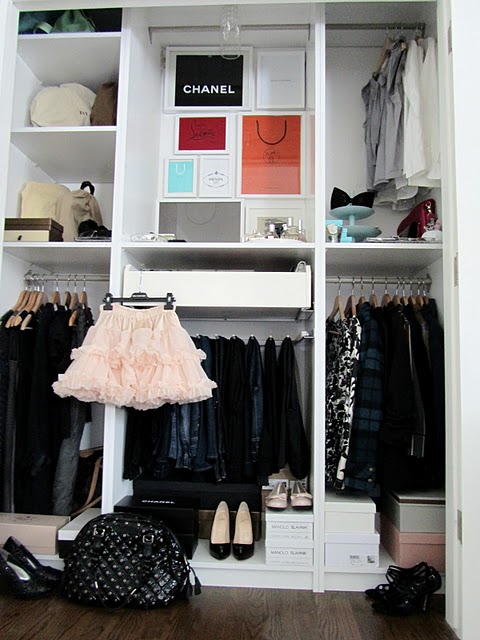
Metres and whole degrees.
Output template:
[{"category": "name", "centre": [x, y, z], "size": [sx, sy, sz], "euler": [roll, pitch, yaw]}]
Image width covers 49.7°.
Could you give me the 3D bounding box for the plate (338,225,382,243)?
[{"category": "plate", "centre": [0.520, -0.371, 2.254], "size": [0.143, 0.073, 0.211], "euler": [7, 13, 27]}]

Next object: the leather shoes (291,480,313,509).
[{"category": "leather shoes", "centre": [0.248, 0.717, 2.116], "size": [0.059, 0.065, 0.190], "euler": [0, -15, -2]}]

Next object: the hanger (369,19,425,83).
[{"category": "hanger", "centre": [0.764, -1.305, 2.500], "size": [0.290, 0.387, 0.048], "euler": [10, -9, 11]}]

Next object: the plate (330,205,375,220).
[{"category": "plate", "centre": [0.510, -0.494, 2.385], "size": [0.188, 0.067, 0.193], "euler": [5, 13, 17]}]

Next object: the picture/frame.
[{"category": "picture/frame", "centre": [-0.025, -0.893, 2.720], "size": [0.882, 1.575, 0.071], "euler": [0, -4, -1]}]

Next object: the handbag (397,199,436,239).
[{"category": "handbag", "centre": [0.829, -0.472, 2.420], "size": [0.159, 0.179, 0.330], "euler": [3, 12, 13]}]
